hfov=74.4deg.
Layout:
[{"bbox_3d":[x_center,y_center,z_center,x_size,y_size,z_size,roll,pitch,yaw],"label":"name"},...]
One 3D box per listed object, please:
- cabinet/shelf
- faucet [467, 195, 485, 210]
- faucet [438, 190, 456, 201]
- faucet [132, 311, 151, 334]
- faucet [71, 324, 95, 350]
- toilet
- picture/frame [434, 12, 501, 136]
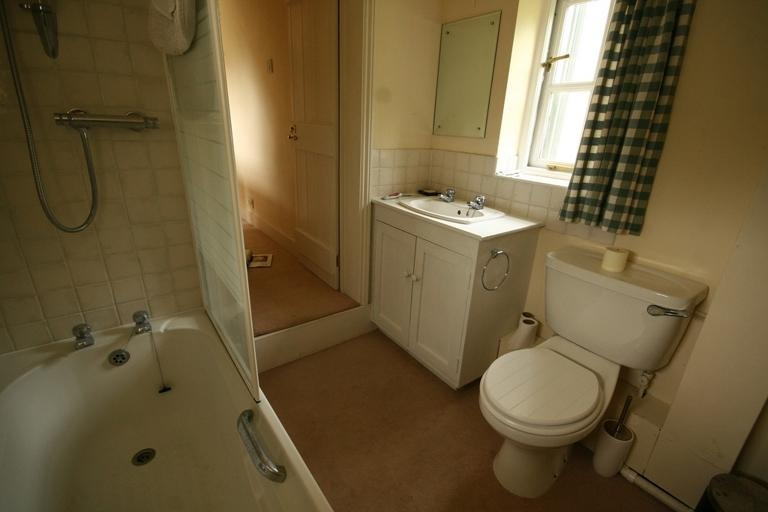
[{"bbox_3d":[0.363,0.121,3.297,0.550,0.966,0.834,-14,26,-38],"label":"cabinet/shelf"},{"bbox_3d":[0.578,-0.329,3.187,0.082,0.089,0.115,12,33,25],"label":"faucet"},{"bbox_3d":[0.403,-0.391,3.323,0.105,0.083,0.080,-11,37,-24],"label":"faucet"},{"bbox_3d":[-1.319,0.363,2.745,0.064,0.124,0.065,28,35,36],"label":"faucet"},{"bbox_3d":[-1.586,0.428,2.653,0.076,0.111,0.059,-23,41,-36],"label":"faucet"},{"bbox_3d":[1.003,0.677,2.752,1.143,1.171,0.756,-20,34,-34],"label":"toilet"},{"bbox_3d":[0.521,-1.146,3.272,0.035,0.745,0.494,-5,15,-38],"label":"picture/frame"}]
